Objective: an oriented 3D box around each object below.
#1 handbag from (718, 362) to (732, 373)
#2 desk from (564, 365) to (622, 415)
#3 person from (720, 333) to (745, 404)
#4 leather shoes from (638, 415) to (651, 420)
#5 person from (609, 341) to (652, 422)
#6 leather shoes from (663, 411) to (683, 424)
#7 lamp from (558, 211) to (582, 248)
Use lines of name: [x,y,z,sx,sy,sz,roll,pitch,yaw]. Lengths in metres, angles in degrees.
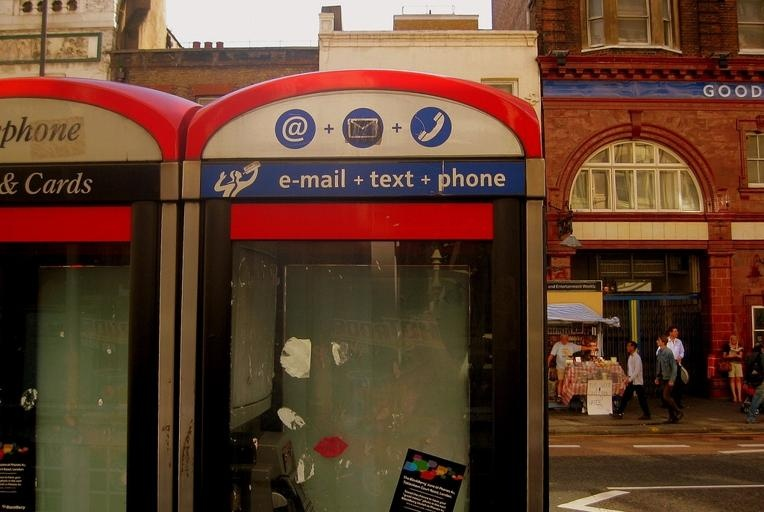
handbag: [9.019,2.969,29.500,0.252,0.245,0.254,-1,-3,-1]
desk: [5.238,3.292,27.910,1.282,0.948,1.287,0,-2,6]
person: [9.306,2.997,29.538,0.736,1.687,0.824,8,3,37]
leather shoes: [6.358,3.967,27.094,0.261,0.091,0.319,7,3,15]
person: [6.225,3.067,27.496,0.851,1.715,1.081,6,3,13]
leather shoes: [6.959,3.886,26.655,0.196,0.250,0.597,-10,-24,22]
lamp: [4.902,-0.671,29.642,0.657,0.997,0.568,0,-4,26]
